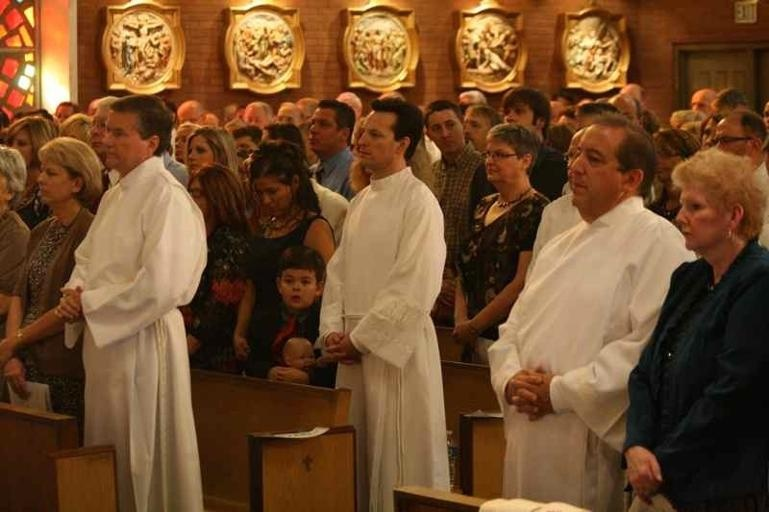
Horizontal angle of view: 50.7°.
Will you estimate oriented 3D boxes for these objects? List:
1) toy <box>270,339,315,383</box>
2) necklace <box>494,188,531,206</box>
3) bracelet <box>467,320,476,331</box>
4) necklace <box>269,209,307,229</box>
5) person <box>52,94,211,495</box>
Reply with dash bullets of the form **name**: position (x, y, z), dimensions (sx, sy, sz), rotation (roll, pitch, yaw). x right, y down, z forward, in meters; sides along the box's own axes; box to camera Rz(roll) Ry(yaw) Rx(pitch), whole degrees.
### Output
- **toy**: position (-0.554, 0.638, 4.981), dimensions (0.237, 0.239, 0.154), rotation (8, -19, -18)
- **necklace**: position (0.798, -0.350, 5.124), dimensions (0.129, 0.033, 0.151), rotation (-1, -11, 45)
- **bracelet**: position (0.544, 0.424, 5.065), dimensions (0.022, 0.056, 0.046), rotation (-1, -1, -35)
- **necklace**: position (-0.640, -0.231, 5.286), dimensions (0.177, 0.065, 0.128), rotation (-8, 1, 17)
- **person**: position (-1.415, 0.226, 4.626), dimensions (0.777, 2.338, 0.456), rotation (-1, 0, -9)
